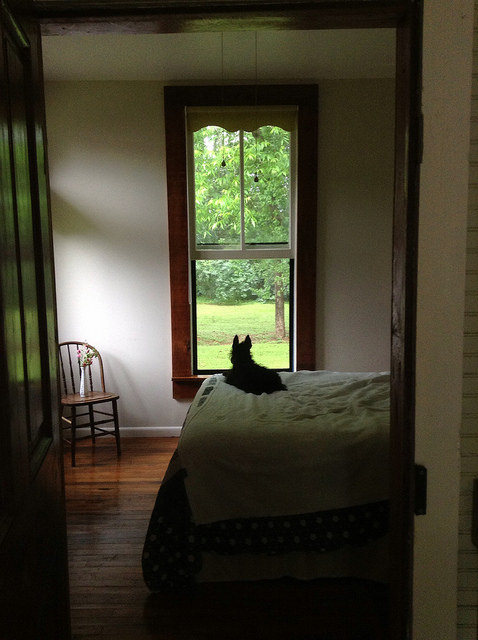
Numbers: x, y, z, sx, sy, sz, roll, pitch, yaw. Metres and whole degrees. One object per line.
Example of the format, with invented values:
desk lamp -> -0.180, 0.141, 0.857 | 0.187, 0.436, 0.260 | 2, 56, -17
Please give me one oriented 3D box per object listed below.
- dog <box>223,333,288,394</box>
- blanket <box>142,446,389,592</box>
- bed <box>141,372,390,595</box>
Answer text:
dog -> 0.055, 0.229, 3.206 | 0.157, 0.274, 0.498 | -3, 15, -16
blanket -> 0.054, 0.675, 2.356 | 0.573, 0.307, 0.607 | -1, -2, -1
bed -> 0.140, 0.658, 2.393 | 0.759, 0.308, 0.801 | 1, 5, 7
